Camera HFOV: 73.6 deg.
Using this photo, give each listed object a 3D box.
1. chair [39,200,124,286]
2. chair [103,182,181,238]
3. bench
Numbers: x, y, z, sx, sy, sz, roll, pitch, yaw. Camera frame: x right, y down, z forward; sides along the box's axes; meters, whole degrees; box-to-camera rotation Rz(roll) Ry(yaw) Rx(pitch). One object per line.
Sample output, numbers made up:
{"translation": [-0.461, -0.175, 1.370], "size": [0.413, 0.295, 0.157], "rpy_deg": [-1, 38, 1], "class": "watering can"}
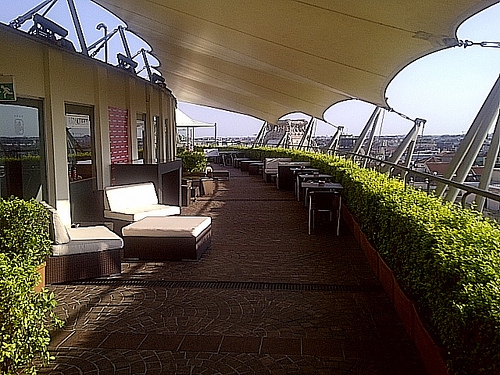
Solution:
{"translation": [-2.565, 0.673, 5.230], "size": [1.173, 1.082, 1.223], "rpy_deg": [-1, 6, -29], "class": "chair"}
{"translation": [-2.371, 0.457, 7.492], "size": [0.874, 0.954, 1.541], "rpy_deg": [5, 6, 23], "class": "chair"}
{"translation": [-1.463, 0.861, 5.926], "size": [1.386, 0.658, 0.816], "rpy_deg": [6, 11, 4], "class": "bench"}
